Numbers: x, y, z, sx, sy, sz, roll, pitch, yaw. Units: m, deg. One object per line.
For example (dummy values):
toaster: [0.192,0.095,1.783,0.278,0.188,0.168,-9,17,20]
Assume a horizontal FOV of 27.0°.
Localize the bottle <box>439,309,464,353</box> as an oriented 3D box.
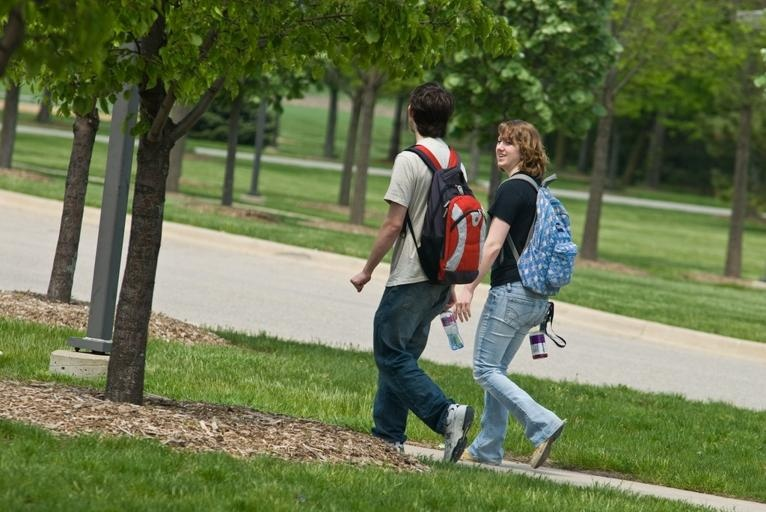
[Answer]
bottle: [0.730,0.726,17.666,0.146,0.571,0.158,-17,19,6]
